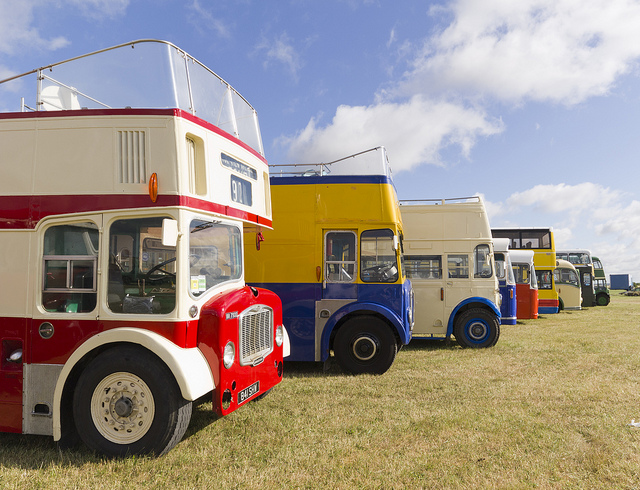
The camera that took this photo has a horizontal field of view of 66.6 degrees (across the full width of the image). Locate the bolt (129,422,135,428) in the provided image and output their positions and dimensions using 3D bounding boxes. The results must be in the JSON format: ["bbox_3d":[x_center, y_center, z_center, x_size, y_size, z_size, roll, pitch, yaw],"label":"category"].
[{"bbox_3d":[-2.365,2.253,6.125,0.065,0.055,0.006,1,1,2],"label":"bolt"}]

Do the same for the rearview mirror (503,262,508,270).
[{"bbox_3d":[5.736,0.619,15.124,0.184,0.201,0.046,0,-6,42],"label":"rearview mirror"}]

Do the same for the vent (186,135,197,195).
[{"bbox_3d":[-1.757,-1.023,6.535,0.048,0.695,0.150,-1,2,37],"label":"vent"}]

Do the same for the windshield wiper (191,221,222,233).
[{"bbox_3d":[-1.585,-0.265,6.699,0.015,0.106,0.723,-3,12,29],"label":"windshield wiper"}]

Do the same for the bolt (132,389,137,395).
[{"bbox_3d":[-2.334,1.832,6.124,0.052,0.060,0.018,3,1,5],"label":"bolt"}]

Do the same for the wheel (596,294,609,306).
[{"bbox_3d":[17.705,3.404,30.654,0.605,0.699,0.228,-1,-6,20],"label":"wheel"}]

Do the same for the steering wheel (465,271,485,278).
[{"bbox_3d":[4.131,0.762,13.065,0.500,0.168,0.031,0,1,-3],"label":"steering wheel"}]

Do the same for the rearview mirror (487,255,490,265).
[{"bbox_3d":[4.510,0.370,13.102,0.050,0.247,0.083,1,1,19],"label":"rearview mirror"}]

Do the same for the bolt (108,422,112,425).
[{"bbox_3d":[-2.653,2.240,6.153,0.028,0.008,0.028,4,16,2],"label":"bolt"}]

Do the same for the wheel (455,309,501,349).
[{"bbox_3d":[4.186,2.196,13.011,1.144,0.978,0.384,0,1,-12],"label":"wheel"}]

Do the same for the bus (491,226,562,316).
[{"bbox_3d":[9.465,0.990,23.920,1.543,3.969,5.934,-6,4,-31],"label":"bus"}]

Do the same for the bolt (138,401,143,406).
[{"bbox_3d":[-2.255,1.975,6.119,0.053,0.052,0.042,2,5,36],"label":"bolt"}]

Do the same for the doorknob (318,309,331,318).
[{"bbox_3d":[0.085,1.364,9.828,0.213,0.184,0.146,1,-7,0],"label":"doorknob"}]

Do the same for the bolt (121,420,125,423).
[{"bbox_3d":[-2.484,2.211,6.140,0.031,0.012,0.031,1,0,-39],"label":"bolt"}]

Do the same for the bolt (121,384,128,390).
[{"bbox_3d":[-2.468,1.779,6.142,0.047,0.015,0.050,4,9,24],"label":"bolt"}]

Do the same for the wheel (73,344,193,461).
[{"bbox_3d":[-2.350,1.950,6.126,1.208,1.402,0.460,-3,-5,7],"label":"wheel"}]

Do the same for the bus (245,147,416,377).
[{"bbox_3d":[0.090,0.515,9.408,3.925,3.896,1.772,0,-3,2],"label":"bus"}]

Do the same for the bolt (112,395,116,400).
[{"bbox_3d":[-2.602,1.914,6.153,0.032,0.037,0.010,11,-1,9],"label":"bolt"}]

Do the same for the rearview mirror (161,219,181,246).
[{"bbox_3d":[-1.879,-0.164,6.131,0.091,0.322,0.296,1,1,16],"label":"rearview mirror"}]

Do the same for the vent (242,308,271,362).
[{"bbox_3d":[-0.946,1.247,7.095,0.078,0.781,1.034,-4,-5,16],"label":"vent"}]

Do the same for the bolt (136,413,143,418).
[{"bbox_3d":[-2.266,2.127,6.120,0.049,0.042,0.052,1,2,25],"label":"bolt"}]

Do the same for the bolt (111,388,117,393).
[{"bbox_3d":[-2.602,1.825,6.154,0.071,0.045,0.070,6,4,8],"label":"bolt"}]

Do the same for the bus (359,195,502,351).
[{"bbox_3d":[2.827,0.735,14.094,4.374,4.185,1.891,-1,-2,14],"label":"bus"}]

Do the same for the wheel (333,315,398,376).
[{"bbox_3d":[0.886,1.993,9.829,1.234,1.183,0.168,1,1,1],"label":"wheel"}]

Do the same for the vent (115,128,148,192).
[{"bbox_3d":[-2.468,-1.123,6.368,0.449,0.824,0.071,1,1,4],"label":"vent"}]

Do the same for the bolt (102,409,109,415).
[{"bbox_3d":[-2.709,2.101,6.162,0.045,0.063,0.020,29,-17,7],"label":"bolt"}]

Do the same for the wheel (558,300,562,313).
[{"bbox_3d":[12.087,3.050,24.623,0.148,0.749,0.913,1,2,25],"label":"wheel"}]
